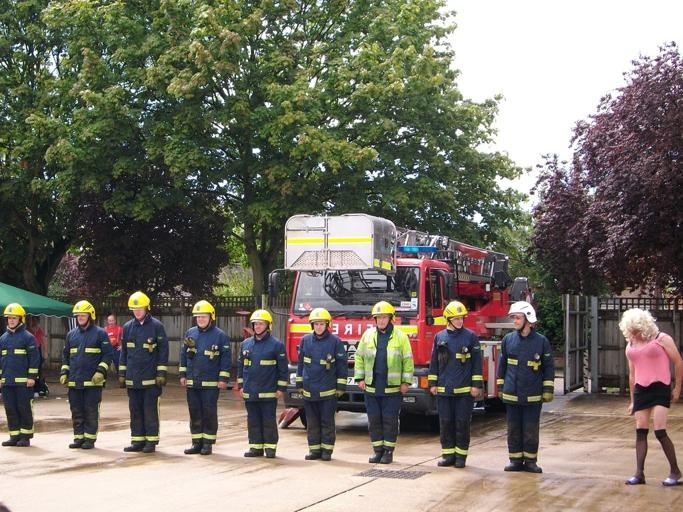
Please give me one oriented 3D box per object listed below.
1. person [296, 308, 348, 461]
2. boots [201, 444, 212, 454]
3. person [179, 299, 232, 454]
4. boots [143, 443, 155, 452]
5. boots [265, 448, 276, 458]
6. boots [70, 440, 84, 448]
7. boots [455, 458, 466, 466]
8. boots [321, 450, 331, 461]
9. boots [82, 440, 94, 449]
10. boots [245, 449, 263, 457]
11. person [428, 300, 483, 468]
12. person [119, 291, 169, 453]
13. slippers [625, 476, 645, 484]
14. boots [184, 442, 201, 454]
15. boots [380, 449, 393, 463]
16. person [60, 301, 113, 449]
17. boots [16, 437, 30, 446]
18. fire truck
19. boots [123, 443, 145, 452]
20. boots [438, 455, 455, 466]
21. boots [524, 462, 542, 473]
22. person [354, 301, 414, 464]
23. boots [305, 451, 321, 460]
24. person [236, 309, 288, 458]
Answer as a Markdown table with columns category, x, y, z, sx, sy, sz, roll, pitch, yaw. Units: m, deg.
| category | x | y | z | sx | sy | sz | roll | pitch | yaw |
| --- | --- | --- | --- | --- | --- | --- | --- | --- | --- |
| person | -0.309 | 2.427 | 18.608 | 0.981 | 2.596 | 1.079 | 0 | -1 | 21 |
| boots | -2.539 | 3.655 | 18.536 | 0.201 | 0.188 | 0.199 | 0 | -8 | -8 |
| person | -2.589 | 2.307 | 18.815 | 0.939 | 2.933 | 0.532 | 0 | -7 | -10 |
| boots | -3.646 | 3.639 | 18.651 | 0.260 | 0.190 | 0.161 | -2 | -8 | 8 |
| boots | -1.295 | 3.669 | 18.234 | 0.187 | 0.182 | 0.178 | 0 | -8 | -8 |
| boots | -5.159 | 3.648 | 19.040 | 0.370 | 0.155 | 0.127 | -1 | -7 | 27 |
| boots | 2.167 | 3.708 | 17.622 | 0.177 | 0.184 | 0.184 | -2 | -8 | 4 |
| boots | -0.253 | 3.676 | 18.083 | 0.187 | 0.181 | 0.204 | -1 | -8 | -5 |
| boots | -4.888 | 3.635 | 18.918 | 0.227 | 0.154 | 0.186 | 1 | -8 | -14 |
| boots | -1.610 | 3.697 | 18.350 | 0.292 | 0.124 | 0.160 | 13 | -16 | -37 |
| person | 2.113 | 2.325 | 17.911 | 0.970 | 3.007 | 0.491 | -2 | -7 | 6 |
| person | -3.803 | 2.227 | 18.891 | 0.902 | 3.061 | 0.514 | 0 | -7 | -13 |
| slippers | 4.981 | 3.787 | 16.505 | 0.340 | 0.134 | 0.124 | 1 | -7 | 7 |
| boots | -2.800 | 3.644 | 18.581 | 0.331 | 0.220 | 0.230 | 0 | -8 | -7 |
| boots | 0.858 | 3.647 | 17.853 | 0.206 | 0.258 | 0.236 | -2 | -8 | 3 |
| person | -4.926 | 2.262 | 19.246 | 0.951 | 2.978 | 0.778 | 2 | -3 | -41 |
| boots | -6.223 | 3.635 | 19.230 | 0.284 | 0.192 | 0.290 | 3 | -9 | -26 |
| fire truck | 1.858 | 1.241 | 23.746 | 3.008 | 3.443 | 8.081 | -3 | -7 | 28 |
| boots | -3.893 | 3.651 | 18.711 | 0.449 | 0.199 | 0.152 | 3 | -5 | 15 |
| boots | 1.939 | 3.712 | 17.790 | 0.355 | 0.246 | 0.136 | 2 | -4 | 5 |
| boots | 3.409 | 3.731 | 17.254 | 0.307 | 0.193 | 0.210 | -1 | -8 | 0 |
| person | 0.771 | 2.303 | 18.244 | 1.008 | 2.994 | 0.845 | 0 | -3 | 9 |
| boots | -0.504 | 3.692 | 18.132 | 0.130 | 0.117 | 0.285 | -5 | -11 | 31 |
| person | -1.472 | 2.397 | 18.512 | 0.937 | 2.783 | 0.444 | -2 | -7 | 3 |
